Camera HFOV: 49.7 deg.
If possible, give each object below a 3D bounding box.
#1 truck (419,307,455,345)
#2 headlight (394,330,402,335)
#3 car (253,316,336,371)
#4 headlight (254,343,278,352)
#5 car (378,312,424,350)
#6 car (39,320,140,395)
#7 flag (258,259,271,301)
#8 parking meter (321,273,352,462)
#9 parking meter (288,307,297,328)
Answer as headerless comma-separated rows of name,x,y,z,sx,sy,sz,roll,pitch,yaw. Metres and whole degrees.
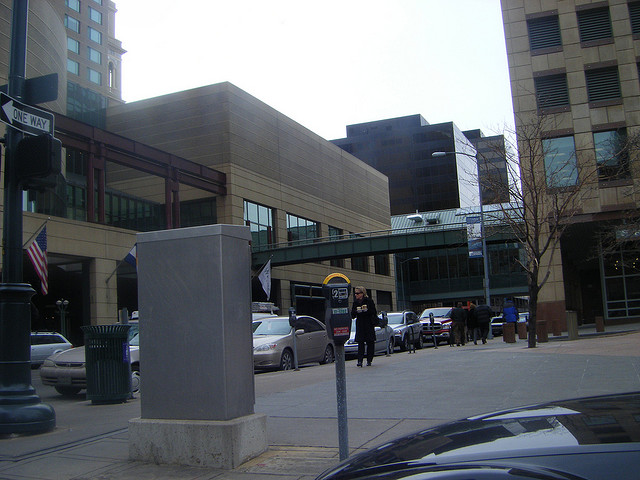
truck,5.442,3.940,32.147,1.239,1.234,2.833,-4,-15,16
headlight,2.945,3.511,26.158,0.359,0.177,0.057,2,-10,-42
car,-0.902,3.150,20.411,1.569,1.476,3.363,-9,-16,23
headlight,-1.481,2.983,19.104,0.725,0.199,0.160,2,-11,-42
car,3.180,3.575,27.459,1.121,1.059,2.465,-6,-13,23
car,-4.896,2.662,15.069,2.058,1.496,2.136,-1,-10,-31
flag,-1.816,1.331,22.654,0.385,1.278,0.881,-4,-8,-4
parking meter,0.260,1.433,7.581,0.321,2.007,0.648,-5,-7,0
parking meter,-0.764,2.207,19.494,0.188,0.514,0.528,-4,-8,-5
